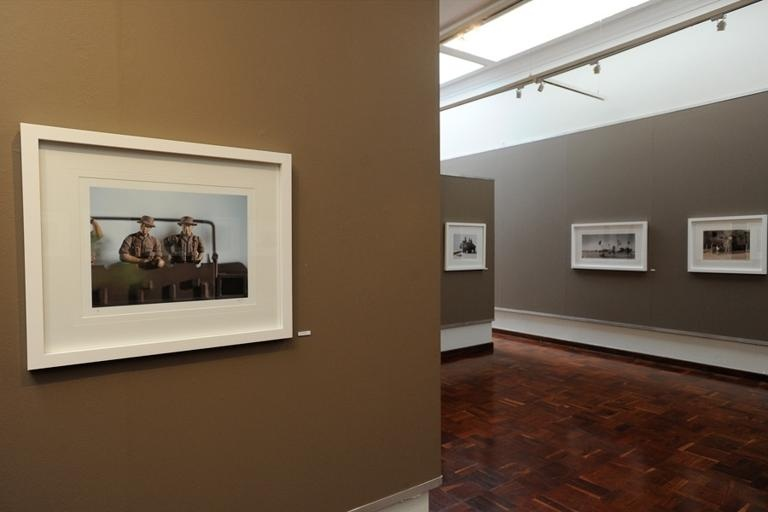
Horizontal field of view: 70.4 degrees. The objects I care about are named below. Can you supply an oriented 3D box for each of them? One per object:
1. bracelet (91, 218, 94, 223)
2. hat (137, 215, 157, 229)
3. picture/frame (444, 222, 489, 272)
[{"bbox_3d":[-1.968,-0.243,3.636,0.016,0.031,0.032,-4,6,-35],"label":"bracelet"},{"bbox_3d":[-1.646,-0.245,3.739,0.077,0.047,0.086,25,1,23],"label":"hat"},{"bbox_3d":[1.463,-0.191,9.976,0.876,0.828,0.085,0,-1,-37],"label":"picture/frame"}]
